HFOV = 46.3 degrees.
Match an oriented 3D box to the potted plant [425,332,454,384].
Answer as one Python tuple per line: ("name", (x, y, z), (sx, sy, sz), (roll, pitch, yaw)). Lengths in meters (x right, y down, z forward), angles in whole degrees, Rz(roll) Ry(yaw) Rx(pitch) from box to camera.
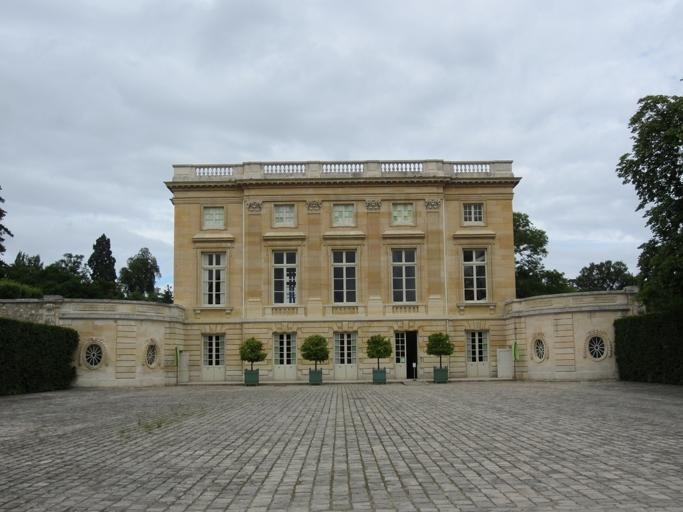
("potted plant", (5.025, 5.037, 39.917), (1.459, 2.428, 1.480), (-9, -12, 35))

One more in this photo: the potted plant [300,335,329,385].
("potted plant", (-1.337, 5.106, 39.990), (1.271, 2.429, 3.070), (2, 0, -3))
